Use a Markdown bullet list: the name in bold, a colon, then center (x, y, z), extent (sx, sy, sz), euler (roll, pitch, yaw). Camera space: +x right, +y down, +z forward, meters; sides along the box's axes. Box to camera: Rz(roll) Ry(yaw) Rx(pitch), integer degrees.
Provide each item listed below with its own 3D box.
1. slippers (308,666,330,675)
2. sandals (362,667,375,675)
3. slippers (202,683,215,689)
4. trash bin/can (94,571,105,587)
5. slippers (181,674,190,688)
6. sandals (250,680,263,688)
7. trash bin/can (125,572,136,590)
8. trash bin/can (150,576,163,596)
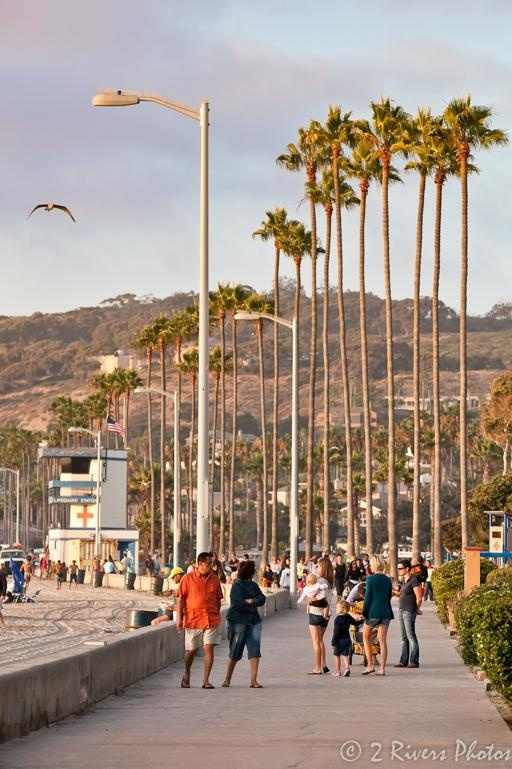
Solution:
- **slippers**: center (0.842, 3.852, 24.657), extent (0.289, 0.160, 0.106), euler (1, 1, 34)
- **sandals**: center (1.507, 3.851, 24.672), extent (0.161, 0.094, 0.068), euler (-7, -14, 36)
- **slippers**: center (-0.573, 3.650, 22.209), extent (0.145, 0.075, 0.260), euler (-3, -8, -2)
- **trash bin/can**: center (-6.070, 7.640, 71.781), extent (0.322, 0.536, 0.392), euler (1, -7, -3)
- **slippers**: center (-0.849, 3.613, 22.364), extent (0.116, 0.114, 0.396), euler (0, -7, -4)
- **sandals**: center (0.015, 3.666, 22.493), extent (0.061, 0.099, 0.188), euler (-3, -3, 38)
- **trash bin/can**: center (-4.483, 7.109, 66.276), extent (0.383, 0.841, 0.463), euler (3, -7, -11)
- **trash bin/can**: center (-3.284, 6.751, 61.350), extent (0.428, 0.883, 0.460), euler (-1, -3, 36)
